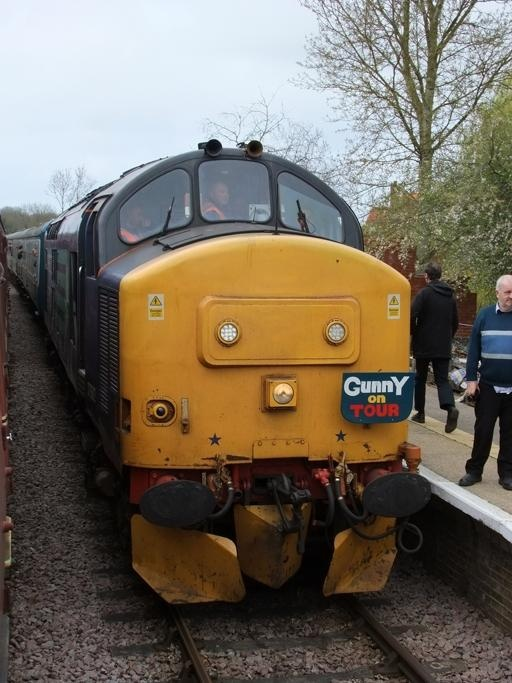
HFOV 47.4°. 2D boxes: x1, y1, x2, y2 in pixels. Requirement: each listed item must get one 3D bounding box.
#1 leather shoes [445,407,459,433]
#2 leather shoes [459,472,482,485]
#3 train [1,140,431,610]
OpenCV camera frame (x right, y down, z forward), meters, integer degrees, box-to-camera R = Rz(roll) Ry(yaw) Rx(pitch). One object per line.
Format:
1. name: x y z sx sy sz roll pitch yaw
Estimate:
1. leather shoes: 2.078 0.841 6.184 0.103 0.297 0.370 2 -1 20
2. leather shoes: 1.703 1.101 4.643 0.083 0.086 0.229 -6 -6 39
3. train: -0.138 0.122 3.971 1.783 3.234 2.128 3 -1 -23
